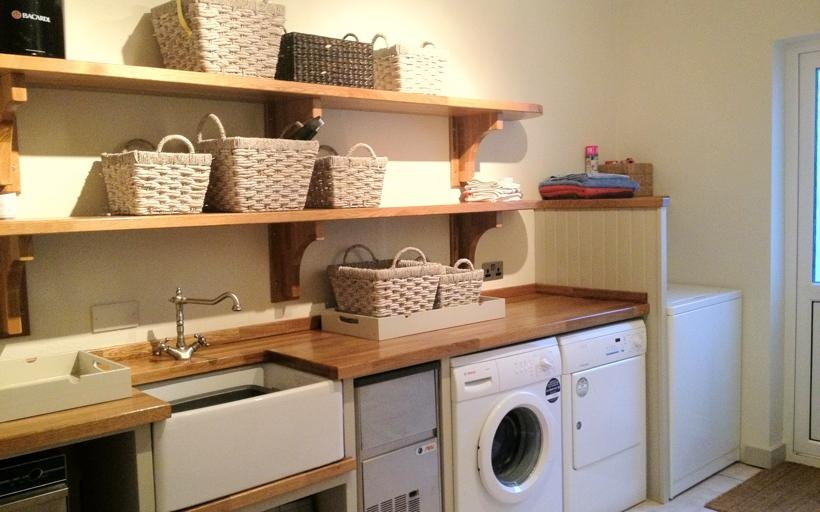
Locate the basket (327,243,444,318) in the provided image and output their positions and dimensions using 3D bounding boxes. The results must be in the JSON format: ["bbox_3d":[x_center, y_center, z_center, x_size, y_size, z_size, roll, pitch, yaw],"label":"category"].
[{"bbox_3d":[-0.102,0.101,3.231,0.404,0.283,0.508,1,5,40],"label":"basket"}]

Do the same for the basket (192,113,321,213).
[{"bbox_3d":[-0.692,-0.342,2.944,0.715,0.473,0.471,5,-8,-39],"label":"basket"}]

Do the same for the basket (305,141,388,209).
[{"bbox_3d":[-0.334,-0.402,3.184,0.323,0.267,0.410,2,-3,-29],"label":"basket"}]

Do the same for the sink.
[{"bbox_3d":[-0.786,0.748,2.629,0.758,0.288,0.541,-4,4,-42],"label":"sink"}]

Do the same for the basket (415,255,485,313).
[{"bbox_3d":[0.240,0.156,3.441,0.309,0.207,0.278,-6,7,-35],"label":"basket"}]
